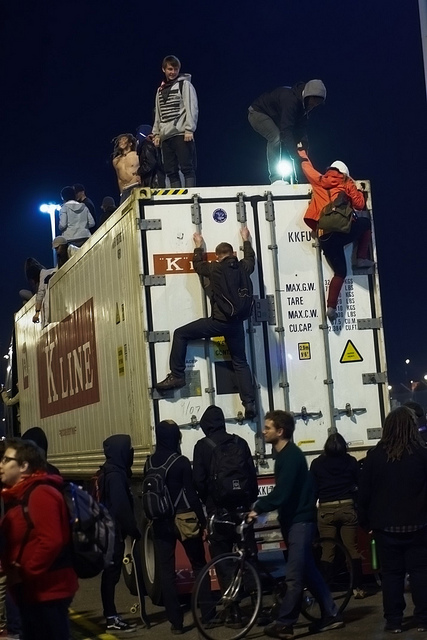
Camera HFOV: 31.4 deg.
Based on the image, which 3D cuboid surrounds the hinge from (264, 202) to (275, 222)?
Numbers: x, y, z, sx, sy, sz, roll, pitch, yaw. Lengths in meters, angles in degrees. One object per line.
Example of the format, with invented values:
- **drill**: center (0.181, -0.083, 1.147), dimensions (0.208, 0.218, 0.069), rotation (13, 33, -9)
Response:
- **hinge**: center (0.574, -1.109, 7.751), dimensions (0.102, 0.177, 0.180), rotation (-3, 3, -1)

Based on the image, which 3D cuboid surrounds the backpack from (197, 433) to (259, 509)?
- **backpack**: center (0.104, 1.272, 6.618), dimensions (0.489, 0.568, 0.623), rotation (-6, -6, 7)

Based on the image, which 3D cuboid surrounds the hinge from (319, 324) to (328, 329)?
- **hinge**: center (1.119, 0.063, 7.692), dimensions (0.086, 0.036, 0.047), rotation (-7, -3, 2)

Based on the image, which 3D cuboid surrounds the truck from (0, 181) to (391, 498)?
- **truck**: center (0.037, 0.242, 7.518), dimensions (1.527, 2.203, 4.426), rotation (0, -2, -20)

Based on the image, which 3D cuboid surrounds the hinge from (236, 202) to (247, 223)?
- **hinge**: center (0.276, -1.091, 7.720), dimensions (0.101, 0.181, 0.184), rotation (1, -8, 1)

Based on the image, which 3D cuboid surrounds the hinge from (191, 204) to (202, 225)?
- **hinge**: center (-0.167, -1.054, 7.573), dimensions (0.103, 0.193, 0.052), rotation (-3, -2, -6)

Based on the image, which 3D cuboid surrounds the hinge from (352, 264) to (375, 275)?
- **hinge**: center (1.579, -0.521, 7.937), dimensions (0.181, 0.117, 0.039), rotation (1, 19, -11)

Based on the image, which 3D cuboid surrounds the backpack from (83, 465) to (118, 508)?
- **backpack**: center (-1.077, 1.520, 7.032), dimensions (0.368, 0.381, 0.289), rotation (7, -17, -17)

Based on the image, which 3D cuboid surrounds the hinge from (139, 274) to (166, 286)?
- **hinge**: center (-0.586, -0.394, 7.343), dimensions (0.241, 0.122, 0.034), rotation (-6, -4, -19)

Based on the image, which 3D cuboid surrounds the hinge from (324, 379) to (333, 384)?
- **hinge**: center (1.147, 0.607, 7.591), dimensions (0.079, 0.039, 0.027), rotation (-2, -6, -4)

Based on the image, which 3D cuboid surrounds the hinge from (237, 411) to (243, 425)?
- **hinge**: center (0.261, 0.928, 7.272), dimensions (0.041, 0.117, 0.046), rotation (1, 1, -1)

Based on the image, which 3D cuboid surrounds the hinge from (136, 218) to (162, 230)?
- **hinge**: center (-0.629, -0.938, 7.414), dimensions (0.258, 0.079, 0.019), rotation (-6, -4, -18)

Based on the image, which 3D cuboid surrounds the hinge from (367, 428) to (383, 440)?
- **hinge**: center (1.630, 1.140, 7.664), dimensions (0.148, 0.097, 0.094), rotation (-8, -3, 8)

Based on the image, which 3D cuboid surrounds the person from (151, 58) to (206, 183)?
- **person**: center (-0.479, -2.480, 9.721), dimensions (0.330, 1.154, 0.651), rotation (-4, -5, -44)

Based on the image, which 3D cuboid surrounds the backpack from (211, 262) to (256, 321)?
- **backpack**: center (0.295, -0.298, 7.183), dimensions (0.446, 0.618, 0.344), rotation (-12, -5, 24)

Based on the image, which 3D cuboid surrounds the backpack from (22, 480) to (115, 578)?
- **backpack**: center (-0.753, 1.130, 4.172), dimensions (0.470, 0.461, 0.324), rotation (-11, -7, 2)

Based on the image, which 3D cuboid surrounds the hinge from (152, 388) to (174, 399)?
- **hinge**: center (-0.474, 0.684, 7.136), dimensions (0.181, 0.096, 0.115), rotation (-2, 3, -1)

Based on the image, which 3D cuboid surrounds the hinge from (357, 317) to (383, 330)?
- **hinge**: center (1.622, 0.029, 7.841), dimensions (0.219, 0.110, 0.053), rotation (-2, -8, -9)

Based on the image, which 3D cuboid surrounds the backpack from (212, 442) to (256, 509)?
- **backpack**: center (0.169, 1.293, 6.468), dimensions (0.376, 0.528, 0.280), rotation (-6, -17, -1)

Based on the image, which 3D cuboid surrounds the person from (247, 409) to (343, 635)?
- **person**: center (0.615, 1.605, 5.974), dimensions (0.516, 1.369, 0.599), rotation (-9, -4, 20)

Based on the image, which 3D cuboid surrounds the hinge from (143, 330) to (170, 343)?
- **hinge**: center (-0.535, 0.148, 7.260), dimensions (0.250, 0.137, 0.022), rotation (-6, -4, -20)

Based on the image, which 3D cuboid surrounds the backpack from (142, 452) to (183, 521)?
- **backpack**: center (-0.469, 1.468, 6.683), dimensions (0.335, 0.568, 0.329), rotation (-13, -15, 35)

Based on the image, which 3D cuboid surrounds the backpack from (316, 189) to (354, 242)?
- **backpack**: center (1.111, -1.098, 7.641), dimensions (0.268, 0.401, 0.453), rotation (11, 3, 41)
